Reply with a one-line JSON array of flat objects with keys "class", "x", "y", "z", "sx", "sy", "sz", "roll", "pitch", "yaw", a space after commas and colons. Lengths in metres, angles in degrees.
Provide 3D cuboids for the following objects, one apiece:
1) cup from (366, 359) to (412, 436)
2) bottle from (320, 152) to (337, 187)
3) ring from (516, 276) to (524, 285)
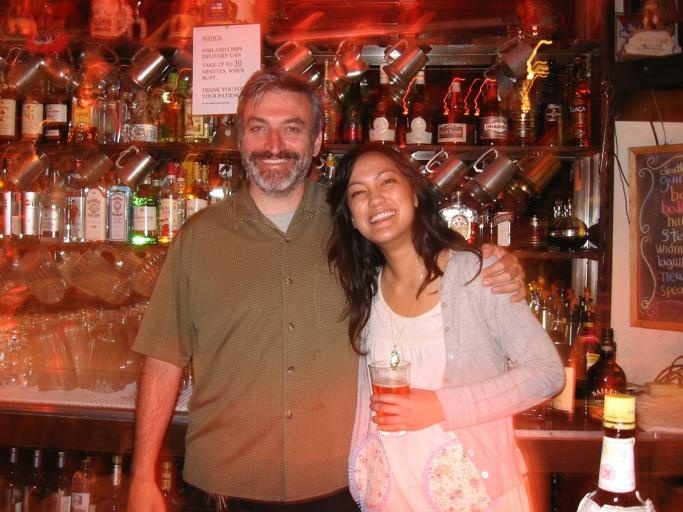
[{"class": "cup", "x": 0.195, "y": 0.571, "z": 2.637, "sx": 0.184, "sy": 0.256, "sz": 0.182, "roll": -1, "pitch": -8, "yaw": 0}, {"class": "bottle", "x": -0.085, "y": -0.500, "z": 3.780, "sx": 0.100, "sy": 0.196, "sz": 0.074, "roll": 7, "pitch": 27, "yaw": 1}, {"class": "ring", "x": 0.719, "y": 0.099, "z": 2.678, "sx": 0.026, "sy": 0.033, "sz": 0.031, "roll": -6, "pitch": -14, "yaw": 35}]
